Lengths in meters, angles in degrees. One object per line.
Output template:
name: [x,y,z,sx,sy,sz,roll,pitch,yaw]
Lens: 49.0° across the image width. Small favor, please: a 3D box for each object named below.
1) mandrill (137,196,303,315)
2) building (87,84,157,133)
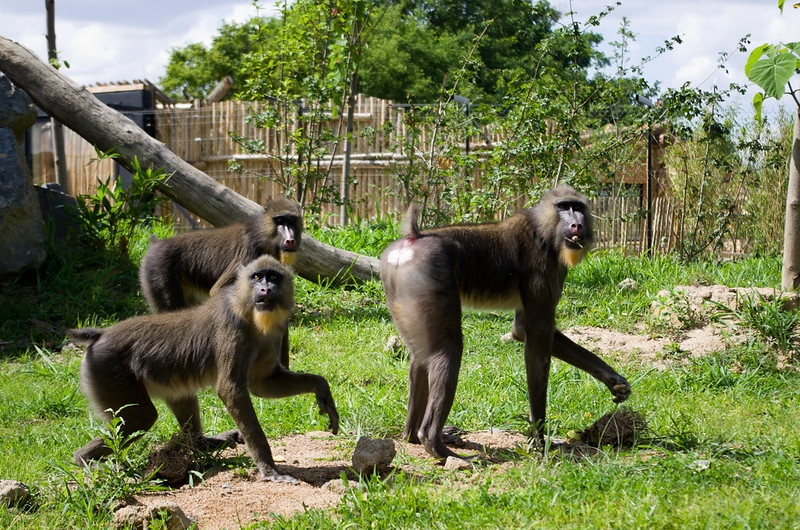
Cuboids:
mandrill: [-2.422,-0.074,10.912,0.704,1.247,2.247,31,26,37]
building: [-6.961,-3.938,22.328,1.503,1.591,4.561,-2,5,-18]
